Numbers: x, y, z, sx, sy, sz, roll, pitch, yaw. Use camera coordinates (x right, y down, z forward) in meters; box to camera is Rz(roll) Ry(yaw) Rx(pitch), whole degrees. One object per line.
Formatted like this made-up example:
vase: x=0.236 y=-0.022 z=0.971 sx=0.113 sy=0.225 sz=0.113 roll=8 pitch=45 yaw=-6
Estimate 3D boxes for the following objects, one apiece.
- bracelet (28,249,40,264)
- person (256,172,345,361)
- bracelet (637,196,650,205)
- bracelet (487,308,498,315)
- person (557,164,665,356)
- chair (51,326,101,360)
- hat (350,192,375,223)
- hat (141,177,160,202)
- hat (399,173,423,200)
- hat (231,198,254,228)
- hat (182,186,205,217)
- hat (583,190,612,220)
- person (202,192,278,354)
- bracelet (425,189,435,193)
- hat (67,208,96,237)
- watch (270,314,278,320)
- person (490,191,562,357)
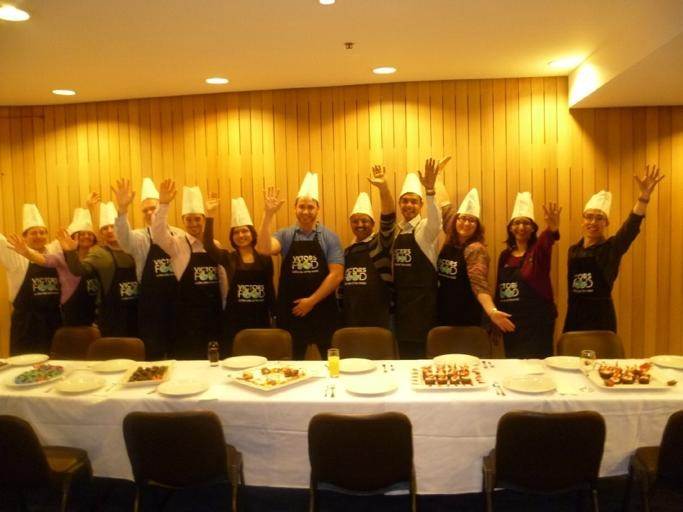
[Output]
bracelet: x=-2.807 y=0.008 z=5.246 sx=0.059 sy=0.128 sz=0.129 roll=-1 pitch=41 yaw=-2
person: x=-0.351 y=0.335 z=5.316 sx=0.828 sy=2.025 sz=0.581 roll=-4 pitch=13 yaw=-11
bracelet: x=2.472 y=-0.456 z=4.714 sx=0.077 sy=0.051 sz=0.111 roll=5 pitch=14 yaw=24
bracelet: x=1.221 y=0.441 z=4.618 sx=0.050 sy=0.053 sz=0.033 roll=1 pitch=30 yaw=32
person: x=2.254 y=-0.010 z=4.910 sx=0.663 sy=1.455 sz=0.533 roll=7 pitch=15 yaw=31
chair: x=-2.174 y=0.693 z=4.732 sx=0.277 sy=0.398 sz=0.322 roll=2 pitch=-6 yaw=-9
hat: x=0.223 y=-0.450 z=5.419 sx=0.253 sy=0.278 sz=0.240 roll=10 pitch=5 yaw=12
hat: x=-1.915 y=-0.654 z=5.785 sx=0.263 sy=0.289 sz=0.260 roll=-2 pitch=7 yaw=-14
hat: x=0.673 y=-0.660 z=5.366 sx=0.249 sy=0.280 sz=0.251 roll=0 pitch=-4 yaw=-9
hat: x=-0.909 y=-0.388 z=5.266 sx=0.205 sy=0.279 sz=0.264 roll=-11 pitch=3 yaw=-4
hat: x=-1.357 y=-0.497 z=5.293 sx=0.208 sy=0.289 sz=0.280 roll=0 pitch=-1 yaw=-13
hat: x=2.277 y=-0.463 z=5.119 sx=0.210 sy=0.347 sz=0.176 roll=-1 pitch=-27 yaw=35
person: x=-0.905 y=0.163 z=5.132 sx=0.572 sy=1.333 sz=0.380 roll=-4 pitch=13 yaw=-15
bracelet: x=0.744 y=-0.533 z=4.787 sx=0.086 sy=0.037 sz=0.052 roll=-4 pitch=14 yaw=-15
hat: x=-2.534 y=-0.309 z=5.717 sx=0.249 sy=0.304 sz=0.292 roll=4 pitch=-4 yaw=-12
watch: x=-0.629 y=0.577 z=5.384 sx=0.080 sy=0.021 sz=0.087 roll=-1 pitch=1 yaw=-2
person: x=1.599 y=0.171 z=4.993 sx=0.458 sy=1.344 sz=0.598 roll=-2 pitch=13 yaw=-4
